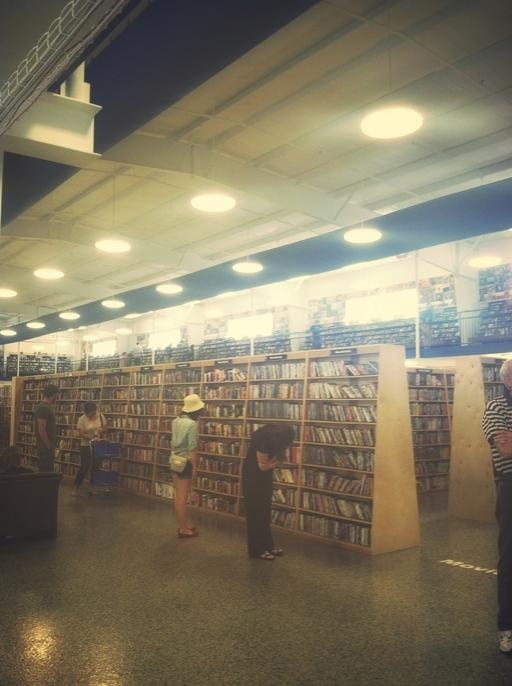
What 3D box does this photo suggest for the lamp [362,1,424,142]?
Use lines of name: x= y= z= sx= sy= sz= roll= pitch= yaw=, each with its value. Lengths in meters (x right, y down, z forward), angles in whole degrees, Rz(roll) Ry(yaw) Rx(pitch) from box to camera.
lamp: x=1.434 y=-2.879 z=5.487 sx=0.529 sy=1.305 sz=0.646 roll=-5 pitch=-24 yaw=16

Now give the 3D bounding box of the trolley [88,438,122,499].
trolley: x=-3.221 y=2.760 z=11.135 sx=0.698 sy=1.187 sz=0.639 roll=8 pitch=-46 yaw=-23

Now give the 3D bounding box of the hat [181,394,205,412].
hat: x=-0.802 y=0.783 z=6.774 sx=0.233 sy=0.247 sz=0.300 roll=1 pitch=-8 yaw=-2

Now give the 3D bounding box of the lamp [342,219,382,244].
lamp: x=1.373 y=-1.389 z=6.772 sx=0.270 sy=0.214 sz=0.519 roll=9 pitch=-12 yaw=-44

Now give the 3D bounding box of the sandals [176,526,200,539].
sandals: x=-0.868 y=2.406 z=6.692 sx=0.128 sy=0.098 sz=0.259 roll=4 pitch=4 yaw=41

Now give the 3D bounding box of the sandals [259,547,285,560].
sandals: x=0.192 y=2.299 z=5.749 sx=0.218 sy=0.079 sz=0.117 roll=-2 pitch=2 yaw=-31

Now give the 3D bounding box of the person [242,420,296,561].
person: x=0.116 y=1.607 z=5.672 sx=0.434 sy=1.436 sz=0.517 roll=4 pitch=-9 yaw=-21

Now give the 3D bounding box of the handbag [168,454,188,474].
handbag: x=-0.964 y=1.489 z=6.475 sx=0.135 sy=0.236 sz=0.298 roll=8 pitch=-11 yaw=-39
